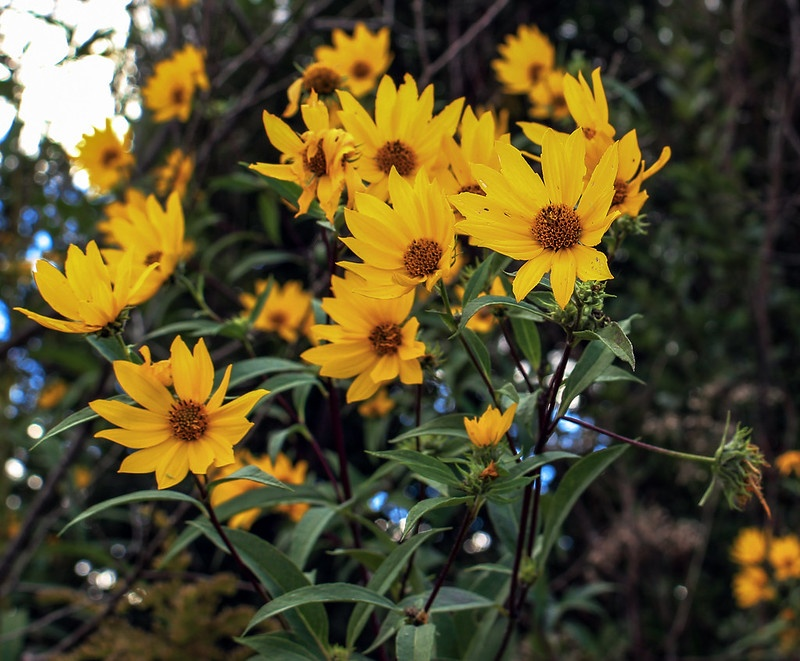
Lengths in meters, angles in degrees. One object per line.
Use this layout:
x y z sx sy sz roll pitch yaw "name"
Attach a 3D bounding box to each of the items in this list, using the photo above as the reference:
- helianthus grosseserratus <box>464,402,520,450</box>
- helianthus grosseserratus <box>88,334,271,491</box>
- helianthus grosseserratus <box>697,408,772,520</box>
0.165 0.195 1.649 0.130 0.124 0.080 -6 -93 33 "helianthus grosseserratus"
-0.424 0.170 1.598 0.266 0.108 0.264 -34 -121 0 "helianthus grosseserratus"
0.637 0.256 1.658 0.168 0.129 0.136 17 -77 12 "helianthus grosseserratus"
